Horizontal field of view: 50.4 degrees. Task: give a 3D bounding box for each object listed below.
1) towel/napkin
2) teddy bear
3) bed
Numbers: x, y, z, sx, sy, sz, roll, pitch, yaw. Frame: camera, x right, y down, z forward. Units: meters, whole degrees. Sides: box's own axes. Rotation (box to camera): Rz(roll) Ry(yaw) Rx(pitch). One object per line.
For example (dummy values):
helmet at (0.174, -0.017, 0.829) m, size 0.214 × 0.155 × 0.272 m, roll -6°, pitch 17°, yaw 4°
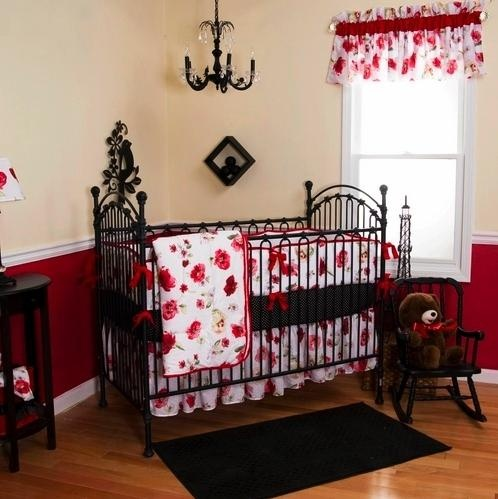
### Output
towel/napkin at (-0.213, 0.234, 2.278) m, size 0.560 × 0.829 × 0.109 m, roll -5°, pitch 6°, yaw -28°
teddy bear at (0.932, 0.411, 2.713) m, size 0.290 × 0.368 × 0.310 m, roll -1°, pitch -1°, yaw -44°
bed at (-0.104, 0.286, 2.879) m, size 1.603 × 1.376 × 1.139 m, roll -4°, pitch 6°, yaw -33°
